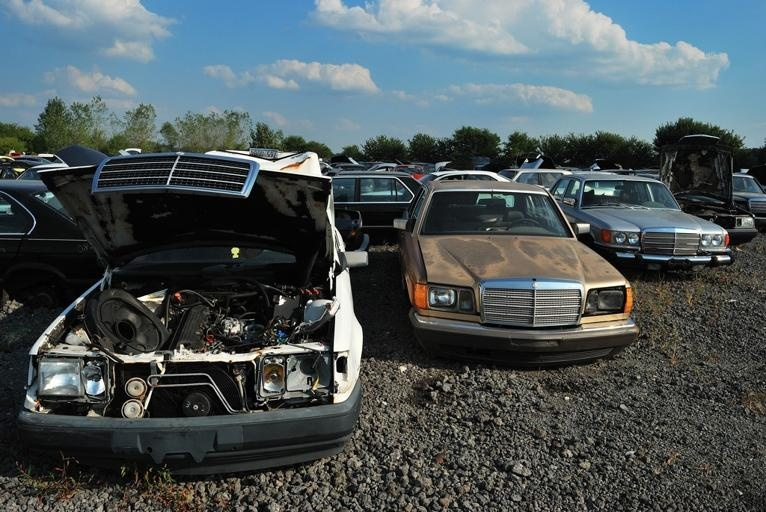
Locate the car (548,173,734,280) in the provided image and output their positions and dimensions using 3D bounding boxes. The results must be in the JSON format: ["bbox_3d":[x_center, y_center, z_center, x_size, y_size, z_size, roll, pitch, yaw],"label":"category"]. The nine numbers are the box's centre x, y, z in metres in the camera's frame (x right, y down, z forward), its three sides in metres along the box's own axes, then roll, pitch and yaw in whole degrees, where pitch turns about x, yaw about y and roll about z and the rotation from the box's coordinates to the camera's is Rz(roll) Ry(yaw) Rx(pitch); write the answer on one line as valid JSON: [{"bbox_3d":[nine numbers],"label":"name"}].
[{"bbox_3d":[4.159,-0.602,9.403,1.810,1.042,3.087,-1,12,-4],"label":"car"}]

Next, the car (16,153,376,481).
[{"bbox_3d":[-1.827,0.095,5.943,2.727,2.024,4.383,2,21,-8],"label":"car"}]

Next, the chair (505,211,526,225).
[{"bbox_3d":[1.805,-0.527,7.346,0.232,0.213,0.218,6,22,-6],"label":"chair"}]

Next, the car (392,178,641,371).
[{"bbox_3d":[1.403,0.148,6.273,1.777,1.044,3.268,0,9,0],"label":"car"}]
